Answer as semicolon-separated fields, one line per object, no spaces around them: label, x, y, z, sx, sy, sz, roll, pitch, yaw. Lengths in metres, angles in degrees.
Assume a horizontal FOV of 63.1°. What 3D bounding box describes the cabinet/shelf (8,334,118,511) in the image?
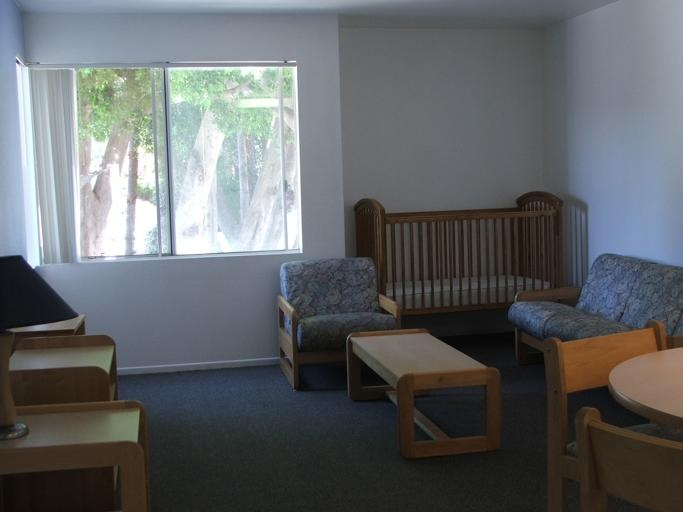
cabinet/shelf;-1.237;0.763;2.463;0.381;0.561;0.895;-1;4;-13

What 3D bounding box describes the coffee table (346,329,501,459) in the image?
coffee table;0.515;0.842;3.637;0.667;0.487;1.090;-5;8;-18

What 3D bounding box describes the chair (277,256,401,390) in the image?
chair;-0.100;0.538;4.741;0.869;1.062;0.981;-1;-5;-14
